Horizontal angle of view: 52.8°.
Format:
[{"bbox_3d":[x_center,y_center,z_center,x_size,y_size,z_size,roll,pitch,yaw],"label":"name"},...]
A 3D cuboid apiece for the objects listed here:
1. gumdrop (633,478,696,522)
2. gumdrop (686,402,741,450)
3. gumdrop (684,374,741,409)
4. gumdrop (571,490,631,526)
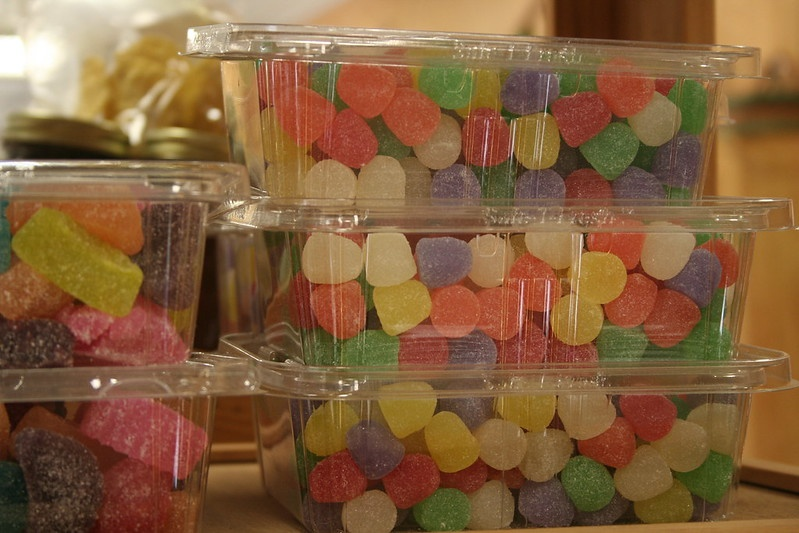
[{"bbox_3d":[0.372,0.321,1.123,0.064,0.021,0.057,-3,-2,-1],"label":"gumdrop"},{"bbox_3d":[0.437,0.218,1.137,0.065,0.055,0.067,2,-6,-11],"label":"gumdrop"},{"bbox_3d":[0.432,0.170,1.127,0.063,0.065,0.044,0,-1,-13],"label":"gumdrop"},{"bbox_3d":[0.278,0.339,1.111,0.066,0.020,0.042,-27,-46,6],"label":"gumdrop"}]
